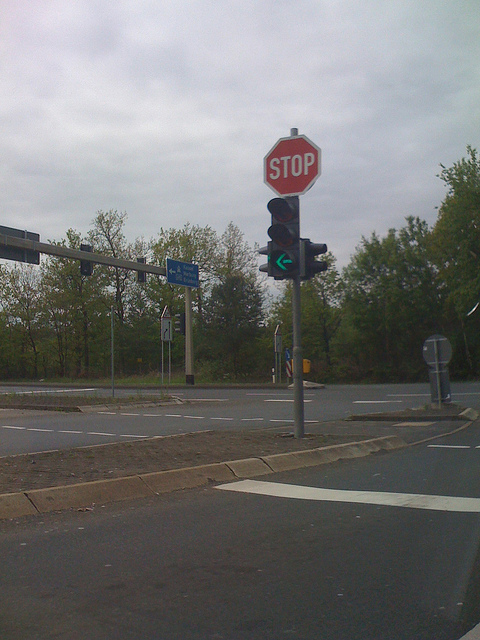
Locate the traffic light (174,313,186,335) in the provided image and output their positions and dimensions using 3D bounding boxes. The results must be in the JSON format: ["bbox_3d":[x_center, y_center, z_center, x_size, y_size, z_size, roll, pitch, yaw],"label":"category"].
[{"bbox_3d":[-2.610,0.189,33.255,0.463,0.655,1.327,-1,-2,-3],"label":"traffic light"}]

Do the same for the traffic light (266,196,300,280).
[{"bbox_3d":[0.582,-1.111,10.103,0.428,0.905,0.518,-1,-1,3],"label":"traffic light"}]

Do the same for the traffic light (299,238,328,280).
[{"bbox_3d":[0.976,-0.819,10.051,0.358,0.448,0.399,-1,-1,6],"label":"traffic light"}]

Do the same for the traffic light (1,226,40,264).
[{"bbox_3d":[-6.736,-2.235,23.120,1.121,1.058,0.543,-1,-1,-22],"label":"traffic light"}]
